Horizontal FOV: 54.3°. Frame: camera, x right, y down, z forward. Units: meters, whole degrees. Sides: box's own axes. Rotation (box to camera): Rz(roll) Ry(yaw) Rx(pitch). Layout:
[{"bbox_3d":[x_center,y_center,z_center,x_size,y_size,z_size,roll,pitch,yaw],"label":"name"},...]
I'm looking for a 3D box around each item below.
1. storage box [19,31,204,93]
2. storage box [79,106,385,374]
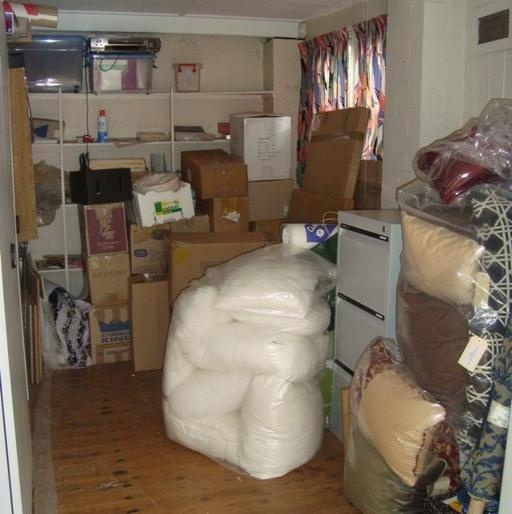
[{"bbox_3d":[-1.190,-1.565,4.026,1.245,0.497,0.525,-2,9,-10],"label":"storage box"},{"bbox_3d":[-0.030,-0.136,3.526,1.681,1.785,0.755,-2,9,-9],"label":"storage box"}]
